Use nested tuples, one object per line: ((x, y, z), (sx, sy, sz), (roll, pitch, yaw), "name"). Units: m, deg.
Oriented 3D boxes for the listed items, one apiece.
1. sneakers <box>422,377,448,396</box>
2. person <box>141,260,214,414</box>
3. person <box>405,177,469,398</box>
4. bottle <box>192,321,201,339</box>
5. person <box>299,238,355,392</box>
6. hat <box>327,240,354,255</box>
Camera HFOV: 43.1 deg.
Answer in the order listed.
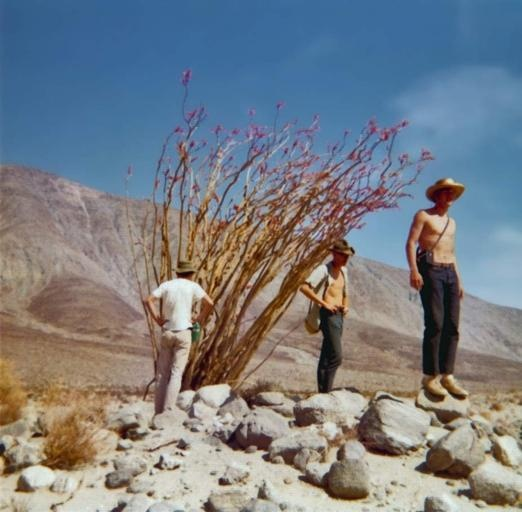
((1.515, 1.133, 5.741), (0.237, 0.172, 0.178), (8, -7, -13), "sneakers")
((-0.729, 0.680, 5.619), (0.571, 1.304, 0.754), (6, -6, -5), "person")
((1.532, 0.400, 5.748), (0.657, 1.638, 0.296), (9, -7, -28), "person")
((-0.577, 0.634, 5.695), (0.045, 0.050, 0.164), (-3, -29, -6), "bottle")
((0.563, 0.517, 5.883), (0.440, 1.374, 0.573), (2, -7, 28), "person")
((0.688, -0.072, 5.769), (0.187, 0.085, 0.169), (8, -18, 33), "hat")
